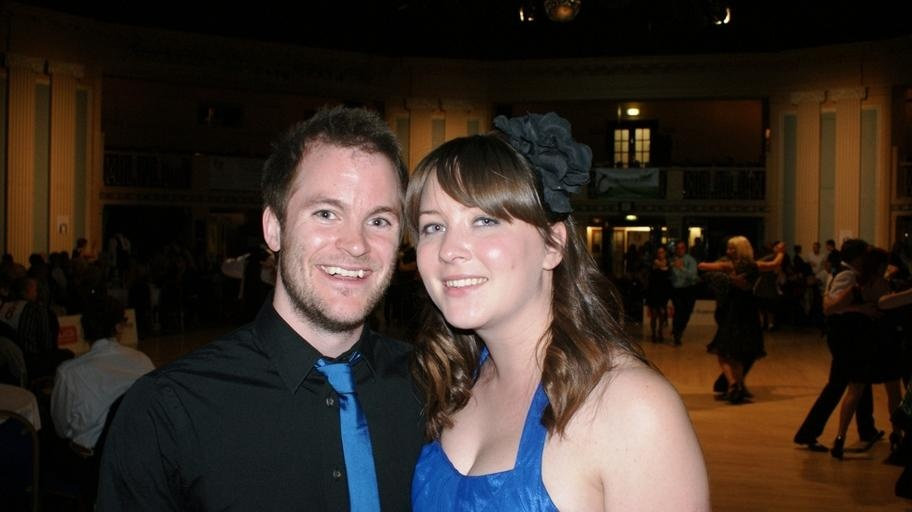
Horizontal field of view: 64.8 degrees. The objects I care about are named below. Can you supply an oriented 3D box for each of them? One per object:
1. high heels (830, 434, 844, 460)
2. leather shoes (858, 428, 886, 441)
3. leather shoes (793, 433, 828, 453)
[{"bbox_3d":[5.890,2.929,10.994,0.148,0.423,0.175,3,28,12],"label":"high heels"},{"bbox_3d":[6.671,2.847,11.467,0.468,0.174,0.153,-2,-6,-18],"label":"leather shoes"},{"bbox_3d":[5.569,2.935,11.289,0.645,0.256,0.212,6,-8,13],"label":"leather shoes"}]
